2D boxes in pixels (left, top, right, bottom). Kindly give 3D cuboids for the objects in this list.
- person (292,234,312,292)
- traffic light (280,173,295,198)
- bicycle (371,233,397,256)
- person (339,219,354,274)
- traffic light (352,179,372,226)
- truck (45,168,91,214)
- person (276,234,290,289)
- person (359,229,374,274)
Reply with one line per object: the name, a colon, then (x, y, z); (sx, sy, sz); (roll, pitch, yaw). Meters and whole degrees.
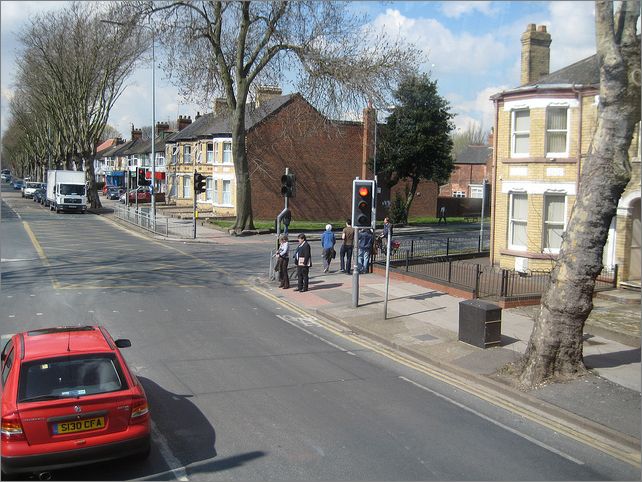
person: (-0.644, 0.729, 22.001); (0.520, 2.025, 0.984); (2, 11, -2)
traffic light: (-1.159, -1.944, 22.060); (0.464, 0.810, 0.692); (0, 12, -10)
bicycle: (2.849, 0.180, 28.370); (0.693, 0.900, 1.329); (-1, 8, -33)
person: (1.070, 0.328, 25.062); (0.458, 2.065, 0.842); (2, 11, 1)
traffic light: (1.276, -1.042, 18.643); (0.605, 1.513, 0.461); (1, -21, 5)
truck: (-21.389, -4.151, 52.516); (2.042, 3.041, 5.418); (0, 2, -26)
person: (-1.331, 0.735, 22.200); (0.387, 1.955, 0.536); (0, 11, -10)
person: (1.797, 0.424, 24.764); (0.559, 1.803, 1.151); (3, 12, 6)
